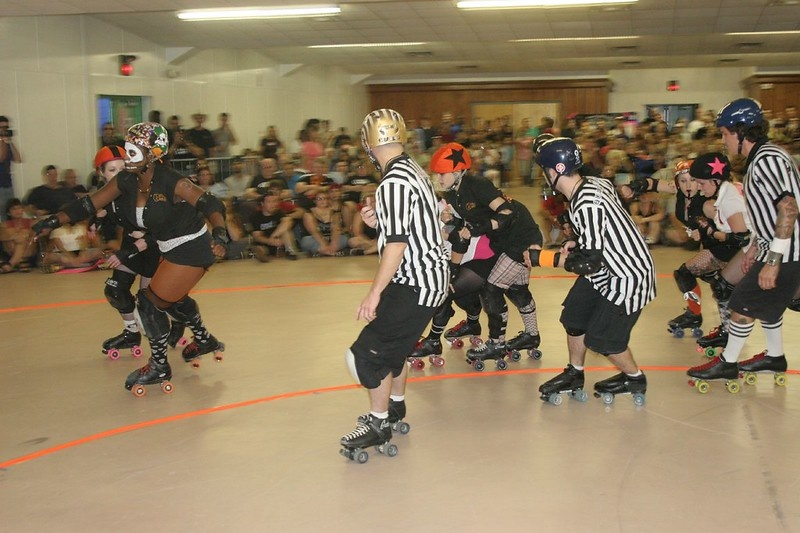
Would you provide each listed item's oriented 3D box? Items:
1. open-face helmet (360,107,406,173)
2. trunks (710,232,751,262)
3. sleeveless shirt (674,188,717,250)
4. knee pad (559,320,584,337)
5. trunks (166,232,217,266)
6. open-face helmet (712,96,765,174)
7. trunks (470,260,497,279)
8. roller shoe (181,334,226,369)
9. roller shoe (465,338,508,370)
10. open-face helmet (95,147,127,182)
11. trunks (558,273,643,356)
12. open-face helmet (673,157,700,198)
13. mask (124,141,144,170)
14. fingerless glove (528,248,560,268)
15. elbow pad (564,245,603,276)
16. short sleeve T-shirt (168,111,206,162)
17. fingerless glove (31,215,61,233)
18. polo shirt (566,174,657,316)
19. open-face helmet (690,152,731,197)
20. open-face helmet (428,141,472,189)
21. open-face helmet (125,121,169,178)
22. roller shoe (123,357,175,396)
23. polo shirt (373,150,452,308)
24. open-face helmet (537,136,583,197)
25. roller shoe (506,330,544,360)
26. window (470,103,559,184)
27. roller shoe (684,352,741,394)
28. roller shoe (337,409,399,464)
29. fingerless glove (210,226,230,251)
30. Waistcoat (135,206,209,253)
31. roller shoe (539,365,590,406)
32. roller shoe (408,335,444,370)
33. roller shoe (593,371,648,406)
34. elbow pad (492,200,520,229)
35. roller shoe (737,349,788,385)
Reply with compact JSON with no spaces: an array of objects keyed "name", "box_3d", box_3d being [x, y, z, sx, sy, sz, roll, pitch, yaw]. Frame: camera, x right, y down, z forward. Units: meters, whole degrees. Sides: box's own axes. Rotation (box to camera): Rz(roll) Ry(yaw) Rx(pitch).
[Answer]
[{"name":"open-face helmet","box_3d":[-0.145,-0.835,4.231,0.354,0.367,0.364,-3,22,-10]},{"name":"trunks","box_3d":[3.061,-0.192,5.961,0.270,0.244,0.205,-17,-22,18]},{"name":"sleeveless shirt","box_3d":[2.930,-0.447,6.453,0.288,0.450,0.142,-11,38,28]},{"name":"knee pad","box_3d":[1.348,0.488,5.040,0.153,0.108,0.127,2,-3,1]},{"name":"trunks","box_3d":[-1.730,-0.163,5.251,0.311,0.204,0.304,-2,5,-9]},{"name":"open-face helmet","box_3d":[2.700,-1.161,5.093,0.354,0.407,0.307,-22,27,0]},{"name":"trunks","box_3d":[0.759,0.018,5.894,0.202,0.182,0.069,3,-4,-9]},{"name":"roller shoe","box_3d":[-1.816,0.774,5.867,0.425,0.267,0.241,1,18,-12]},{"name":"roller shoe","box_3d":[0.785,0.800,5.793,0.399,0.247,0.206,2,3,-6]},{"name":"open-face helmet","box_3d":[-2.668,-0.997,5.946,0.249,0.287,0.306,-22,-2,-46]},{"name":"trunks","box_3d":[1.571,0.389,4.999,0.360,0.568,0.615,7,19,-36]},{"name":"open-face helmet","box_3d":[2.900,-0.886,6.428,0.308,0.362,0.397,-12,-4,21]},{"name":"mask","box_3d":[-2.105,-0.873,5.031,0.172,0.214,0.078,6,17,25]},{"name":"fingerless glove","box_3d":[1.052,-0.067,4.719,0.186,0.071,0.149,6,5,26]},{"name":"elbow pad","box_3d":[1.325,-0.026,4.652,0.225,0.095,0.211,-1,21,8]},{"name":"short sleeve T-shirt","box_3d":[-4.311,-2.529,12.637,1.036,0.940,0.288,11,-26,-28]},{"name":"fingerless glove","box_3d":[-2.996,-0.336,5.460,0.239,0.100,0.137,-14,48,-14]},{"name":"polo shirt","box_3d":[1.577,-0.154,4.745,0.656,1.006,0.278,0,16,6]},{"name":"open-face helmet","box_3d":[2.822,-0.835,5.740,0.404,0.397,0.328,-7,9,24]},{"name":"open-face helmet","box_3d":[0.442,-0.858,5.465,0.421,0.379,0.292,-8,8,-22]},{"name":"open-face helmet","box_3d":[-2.010,-0.981,5.210,0.431,0.387,0.313,15,21,-27]},{"name":"roller shoe","box_3d":[-2.085,0.928,5.357,0.392,0.242,0.267,2,1,-11]},{"name":"polo shirt","box_3d":[0.087,-0.207,4.210,0.480,1.034,0.394,-3,15,-6]},{"name":"open-face helmet","box_3d":[1.247,-0.783,4.871,0.448,0.505,0.387,-3,19,17]},{"name":"roller shoe","box_3d":[1.147,0.748,6.005,0.349,0.223,0.223,2,3,-2]},{"name":"window","box_3d":[3.942,-4.433,22.706,3.294,3.092,0.129,6,9,36]},{"name":"roller shoe","box_3d":[2.534,0.874,5.221,0.429,0.249,0.206,0,11,-3]},{"name":"roller shoe","box_3d":[-0.219,1.160,4.323,0.447,0.279,0.237,4,0,-38]},{"name":"fingerless glove","box_3d":[-1.470,-0.254,5.245,0.144,0.188,0.274,-6,15,-16]},{"name":"Waistcoat","box_3d":[-1.861,-0.251,5.190,0.446,0.333,0.109,-5,-14,-8]},{"name":"roller shoe","box_3d":[1.281,0.930,5.105,0.429,0.274,0.222,0,9,-29]},{"name":"roller shoe","box_3d":[0.232,0.796,5.896,0.386,0.349,0.234,1,6,-15]},{"name":"roller shoe","box_3d":[1.727,0.950,5.027,0.366,0.215,0.237,2,2,10]},{"name":"elbow pad","box_3d":[0.917,-0.447,5.566,0.121,0.200,0.258,26,62,30]},{"name":"roller shoe","box_3d":[3.029,0.837,5.303,0.177,0.244,0.441,-3,-5,-29]}]
